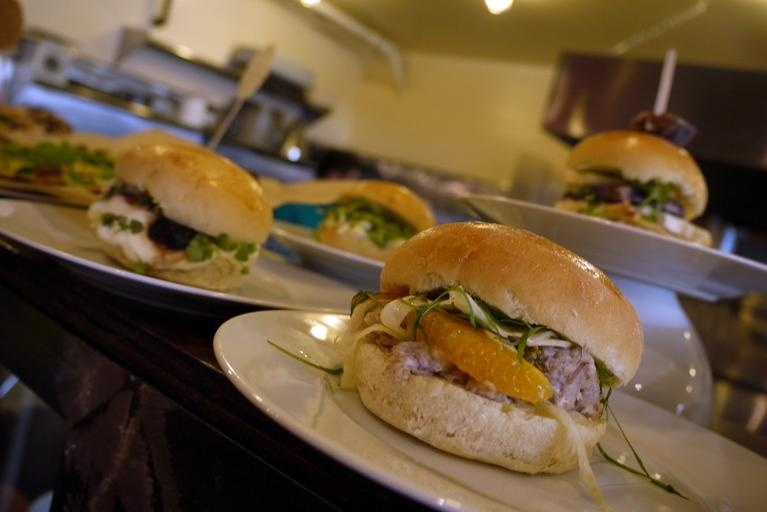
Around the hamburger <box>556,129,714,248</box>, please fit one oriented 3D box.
[{"bbox_3d":[0.669,-0.191,1.514,0.350,0.198,0.341,21,0,-41],"label":"hamburger"}]

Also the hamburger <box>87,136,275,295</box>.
[{"bbox_3d":[-0.538,-0.134,1.565,0.491,0.311,0.433,13,21,-40],"label":"hamburger"}]

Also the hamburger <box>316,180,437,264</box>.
[{"bbox_3d":[-0.034,-0.168,2.625,0.419,0.242,0.426,17,-3,24],"label":"hamburger"}]

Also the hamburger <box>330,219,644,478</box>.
[{"bbox_3d":[0.271,0.176,1.423,0.682,0.471,0.670,13,2,37],"label":"hamburger"}]
